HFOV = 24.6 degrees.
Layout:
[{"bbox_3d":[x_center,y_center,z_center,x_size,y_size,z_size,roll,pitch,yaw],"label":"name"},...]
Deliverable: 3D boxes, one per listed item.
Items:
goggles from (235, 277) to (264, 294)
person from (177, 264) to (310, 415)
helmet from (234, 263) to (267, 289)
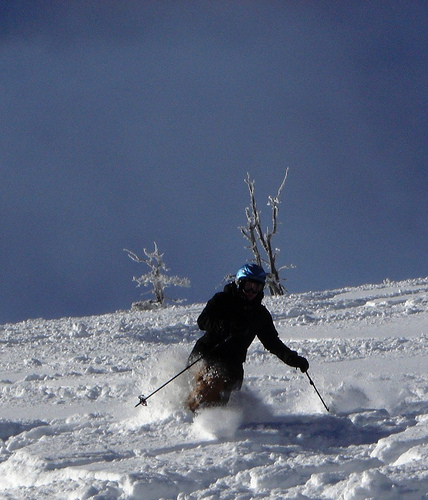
[{"bbox_3d":[0.402,0.390,10.600,0.168,0.117,0.215,14,2,-16],"label":"goggles"},{"bbox_3d":[0.302,1.220,10.717,1.007,2.152,1.140,12,11,-13],"label":"person"},{"bbox_3d":[0.365,0.292,10.677,0.249,0.310,0.320,16,-29,-30],"label":"helmet"}]
